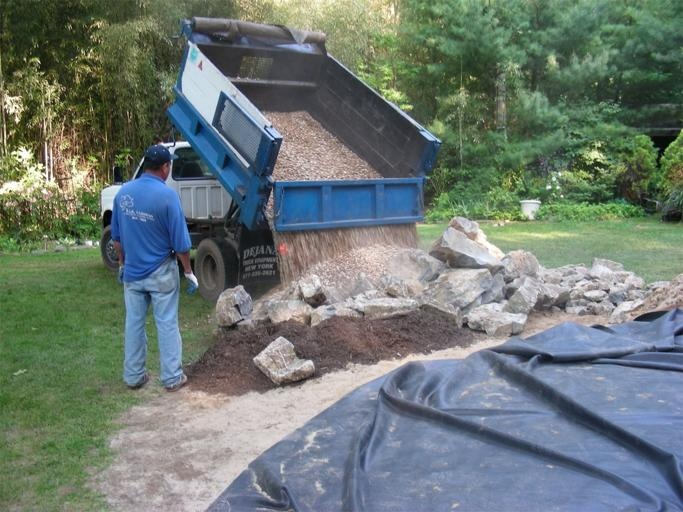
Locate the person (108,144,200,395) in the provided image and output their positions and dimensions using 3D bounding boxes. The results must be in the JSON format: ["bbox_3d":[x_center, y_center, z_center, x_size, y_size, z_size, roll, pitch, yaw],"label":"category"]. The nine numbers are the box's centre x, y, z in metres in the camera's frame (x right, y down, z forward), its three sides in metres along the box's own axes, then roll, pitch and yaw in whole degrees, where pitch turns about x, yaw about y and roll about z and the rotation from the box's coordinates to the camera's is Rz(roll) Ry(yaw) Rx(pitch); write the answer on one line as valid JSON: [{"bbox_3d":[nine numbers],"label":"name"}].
[{"bbox_3d":[-2.167,0.303,8.369,0.945,2.486,0.433,-1,7,-7],"label":"person"}]

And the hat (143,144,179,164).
[{"bbox_3d":[-2.089,-1.174,8.466,0.230,0.186,0.393,13,34,9],"label":"hat"}]

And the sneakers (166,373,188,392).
[{"bbox_3d":[-1.914,1.481,8.438,0.114,0.137,0.281,12,32,23],"label":"sneakers"}]

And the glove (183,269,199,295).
[{"bbox_3d":[-2.047,0.364,9.847,0.096,0.344,0.239,-16,6,21],"label":"glove"}]

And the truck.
[{"bbox_3d":[-1.273,-1.639,11.973,2.786,4.035,5.829,-7,22,-32],"label":"truck"}]
